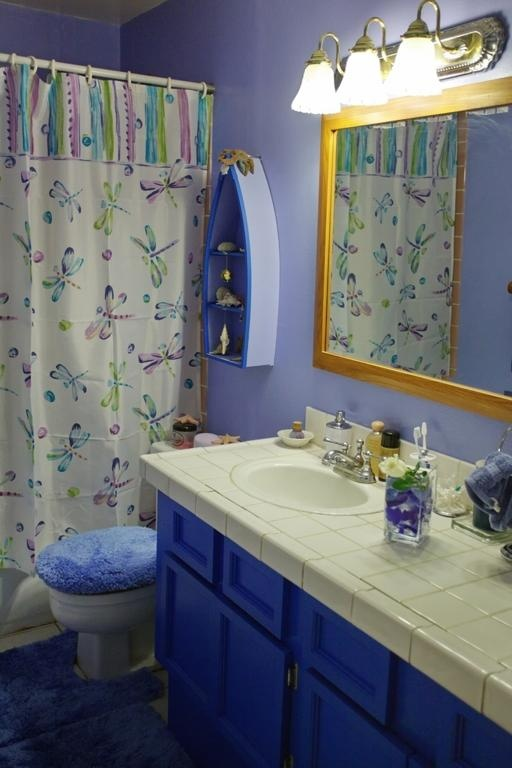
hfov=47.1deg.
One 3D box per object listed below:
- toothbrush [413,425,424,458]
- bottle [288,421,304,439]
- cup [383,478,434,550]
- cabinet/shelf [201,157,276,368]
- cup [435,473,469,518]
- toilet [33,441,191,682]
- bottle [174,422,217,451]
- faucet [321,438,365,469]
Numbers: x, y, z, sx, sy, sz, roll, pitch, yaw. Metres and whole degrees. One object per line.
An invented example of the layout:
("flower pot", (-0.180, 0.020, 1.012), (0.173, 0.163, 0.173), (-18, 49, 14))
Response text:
("toothbrush", (0.376, 0.136, 1.363), (0.013, 0.086, 0.014), (1, -7, 20))
("bottle", (0.131, 0.146, 1.842), (0.044, 0.089, 0.046), (1, 0, 0))
("cup", (0.296, 0.246, 1.149), (0.091, 0.125, 0.093), (-3, 7, 0))
("cabinet/shelf", (-0.071, -0.416, 2.098), (0.153, 0.729, 0.364), (-7, 8, -31))
("cup", (0.447, 0.261, 1.345), (0.068, 0.079, 0.078), (0, -1, 18))
("toilet", (-0.496, 0.756, 2.127), (0.519, 0.504, 0.418), (-5, 12, -37))
("bottle", (-0.248, 0.206, 2.253), (0.176, 0.137, 0.093), (1, 7, 6))
("faucet", (0.253, 0.185, 1.616), (0.048, 0.093, 0.162), (-1, 7, -23))
